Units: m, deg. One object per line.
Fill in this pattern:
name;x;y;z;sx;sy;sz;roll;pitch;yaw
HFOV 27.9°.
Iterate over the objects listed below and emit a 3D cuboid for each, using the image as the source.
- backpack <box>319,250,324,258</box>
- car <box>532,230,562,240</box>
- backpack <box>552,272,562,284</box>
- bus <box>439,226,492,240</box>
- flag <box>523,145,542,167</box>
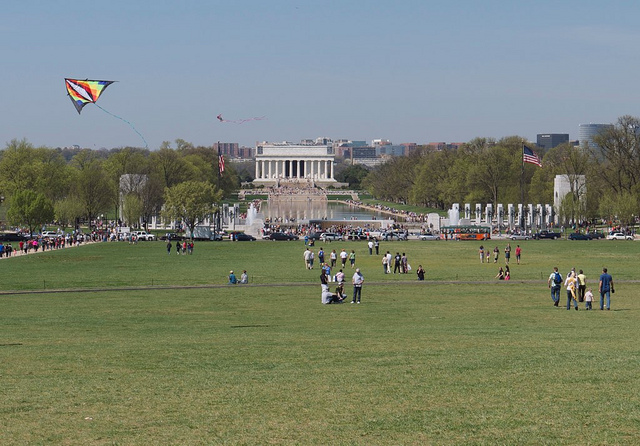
backpack;0.085;1.960;83.780;0.296;0.488;0.399;0;6;-3
car;21.509;1.021;122.295;2.065;0.664;1.071;3;-1;1
backpack;12.225;2.819;66.327;0.486;0.406;0.437;-1;0;-6
bus;13.255;0.777;122.938;6.109;1.481;1.732;2;-1;12
flag;20.201;-6.770;123.208;1.494;2.182;5.096;-1;0;8
